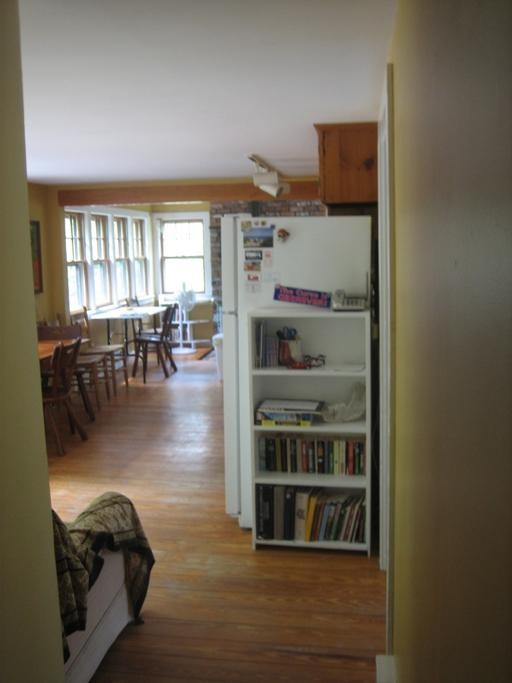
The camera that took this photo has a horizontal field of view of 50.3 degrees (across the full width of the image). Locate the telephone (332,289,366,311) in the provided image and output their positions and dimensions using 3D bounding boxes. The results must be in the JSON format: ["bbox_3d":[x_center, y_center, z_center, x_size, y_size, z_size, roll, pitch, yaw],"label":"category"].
[{"bbox_3d":[0.540,-0.227,3.132,0.132,0.100,0.144,0,6,15],"label":"telephone"}]

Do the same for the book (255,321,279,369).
[{"bbox_3d":[0.062,0.036,3.448,0.183,0.437,0.339,0,3,5],"label":"book"}]

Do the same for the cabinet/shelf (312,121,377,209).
[{"bbox_3d":[0.644,-1.307,3.966,0.422,0.696,0.635,0,5,9],"label":"cabinet/shelf"}]
